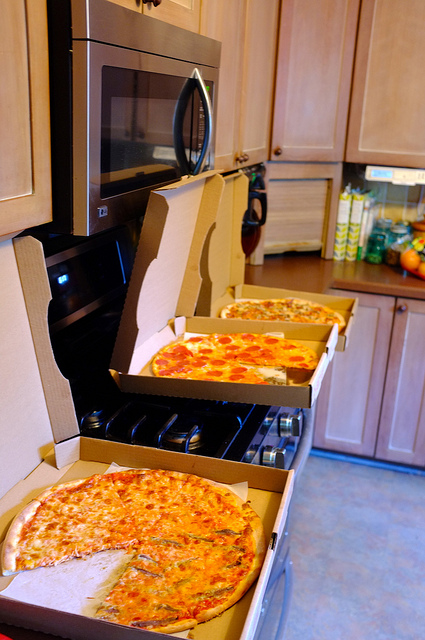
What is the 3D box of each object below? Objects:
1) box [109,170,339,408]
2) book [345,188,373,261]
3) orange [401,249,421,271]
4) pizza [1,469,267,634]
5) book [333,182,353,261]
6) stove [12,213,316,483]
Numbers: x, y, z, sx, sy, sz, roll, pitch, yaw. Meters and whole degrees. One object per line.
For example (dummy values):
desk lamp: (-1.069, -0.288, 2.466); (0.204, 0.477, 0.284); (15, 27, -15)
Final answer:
box: (0.057, -0.139, 1.289); (0.537, 0.576, 0.634); (2, 15, 26)
book: (0.827, -0.504, 2.564); (0.108, 0.399, 0.226); (8, 19, 20)
orange: (0.981, -0.299, 2.338); (0.094, 0.120, 0.096); (0, 8, -12)
pizza: (-0.106, 0.277, 0.747); (0.365, 0.081, 0.387); (-3, 15, -19)
book: (0.702, -0.503, 2.545); (0.153, 0.331, 0.152); (8, 19, 19)
stove: (-0.092, 0.042, 1.230); (0.619, 0.639, 0.592); (6, 13, 16)
